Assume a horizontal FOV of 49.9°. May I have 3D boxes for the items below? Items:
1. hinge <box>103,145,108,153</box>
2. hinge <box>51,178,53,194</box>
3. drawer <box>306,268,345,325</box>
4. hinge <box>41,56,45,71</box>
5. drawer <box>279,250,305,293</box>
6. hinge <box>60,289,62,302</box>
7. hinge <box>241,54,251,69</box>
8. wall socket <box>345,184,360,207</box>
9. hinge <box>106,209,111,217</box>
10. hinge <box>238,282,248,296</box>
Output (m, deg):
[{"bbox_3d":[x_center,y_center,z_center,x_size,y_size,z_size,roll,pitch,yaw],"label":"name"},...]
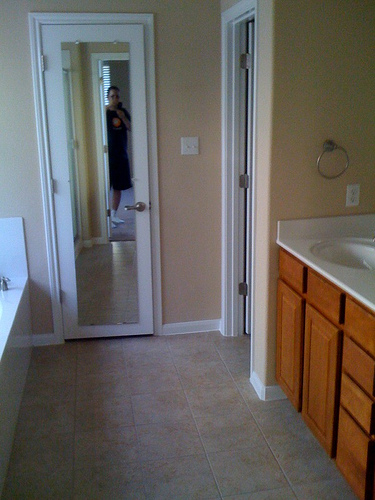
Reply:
[{"bbox_3d":[-0.493,-0.607,2.409,0.028,0.062,0.031,2,1,9],"label":"hinge"},{"bbox_3d":[-0.810,-0.381,2.392,0.004,0.081,0.013,6,11,35],"label":"hinge"},{"bbox_3d":[0.452,0.157,1.315,0.093,0.106,0.156,-3,21,-10],"label":"drawer"},{"bbox_3d":[-0.806,-1.036,2.229,0.019,0.076,0.007,-6,10,-31],"label":"hinge"},{"bbox_3d":[0.423,0.083,1.618,0.093,0.107,0.157,-2,22,-11],"label":"drawer"},{"bbox_3d":[-0.809,0.289,2.553,0.013,0.083,0.004,-4,9,-22],"label":"hinge"},{"bbox_3d":[0.336,-1.083,2.305,0.056,0.066,0.015,6,10,23],"label":"hinge"},{"bbox_3d":[0.740,-0.246,1.791,0.070,0.096,0.018,-5,10,-24],"label":"wall socket"},{"bbox_3d":[-0.492,-0.234,2.504,0.026,0.057,0.028,2,5,3],"label":"hinge"},{"bbox_3d":[0.349,0.253,2.587,0.066,0.073,0.017,1,2,27],"label":"hinge"}]
